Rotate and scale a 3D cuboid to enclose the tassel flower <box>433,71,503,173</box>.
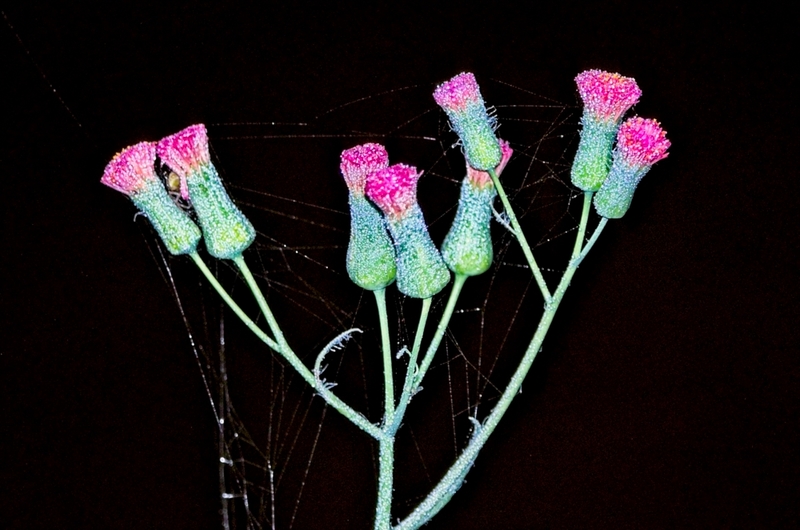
[{"bbox_3d":[0.191,-0.363,1.918,0.121,0.214,0.195,-29,45,-31],"label":"tassel flower"}]

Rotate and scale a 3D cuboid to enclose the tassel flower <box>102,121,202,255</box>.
[{"bbox_3d":[-0.616,-0.161,1.939,0.177,0.293,0.187,-33,4,19],"label":"tassel flower"}]

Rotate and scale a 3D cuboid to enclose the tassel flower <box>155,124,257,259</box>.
[{"bbox_3d":[-0.484,-0.178,1.892,0.122,0.277,0.239,-28,44,-30],"label":"tassel flower"}]

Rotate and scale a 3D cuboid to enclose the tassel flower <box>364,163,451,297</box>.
[{"bbox_3d":[0.022,-0.082,1.892,0.149,0.315,0.205,-20,41,-22],"label":"tassel flower"}]
